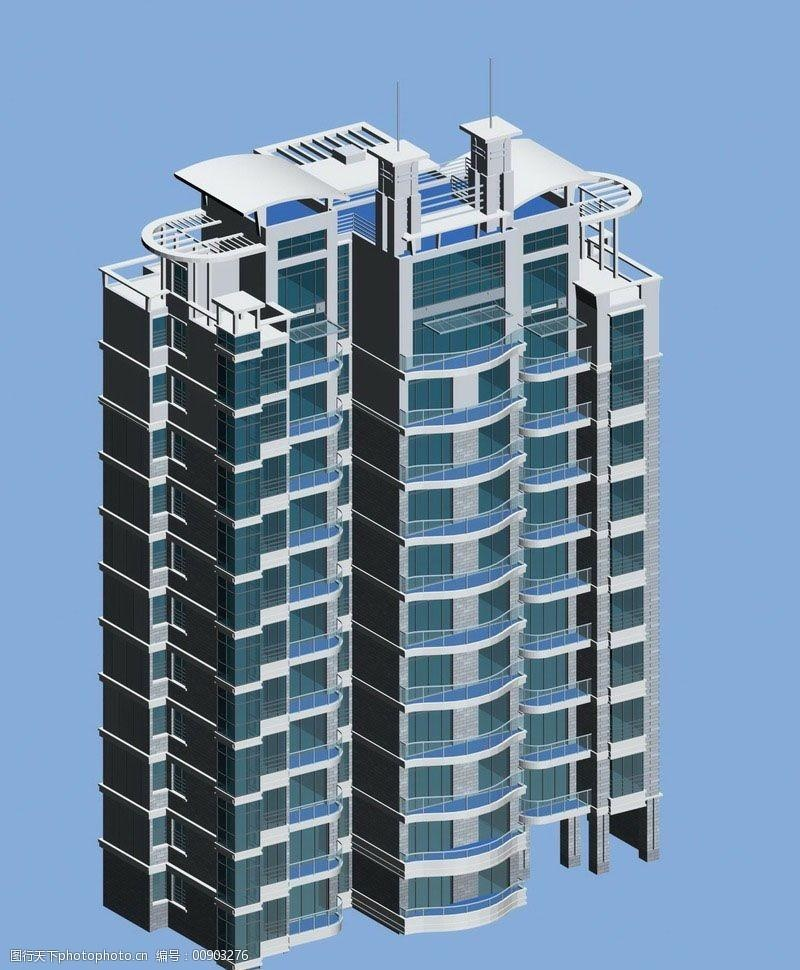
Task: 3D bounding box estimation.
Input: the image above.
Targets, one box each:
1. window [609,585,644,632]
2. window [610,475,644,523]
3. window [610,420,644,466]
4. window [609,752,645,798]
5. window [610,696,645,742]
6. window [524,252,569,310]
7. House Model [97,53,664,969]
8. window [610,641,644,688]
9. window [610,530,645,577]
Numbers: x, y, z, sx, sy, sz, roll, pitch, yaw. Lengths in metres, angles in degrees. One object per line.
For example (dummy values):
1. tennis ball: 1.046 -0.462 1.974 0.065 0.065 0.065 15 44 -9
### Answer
1. window: 6.140 3.347 93.722 0.975 1.007 0.342 -18 31 -29
2. window: 6.066 0.358 92.624 1.020 1.061 0.087 -21 36 -26
3. window: 6.039 -1.137 92.108 0.981 1.020 0.074 -22 35 -28
4. window: 6.268 8.055 95.642 1.110 1.158 0.091 -15 22 -37
5. window: 6.249 6.450 94.935 1.050 1.240 0.154 -16 31 -25
6. window: 3.750 -5.363 89.561 1.199 1.239 0.048 -23 33 -32
7. House Model: -1.189 1.018 87.965 15.550 22.600 10.010 -16 26 -36
8. window: 6.178 4.907 94.289 1.080 1.124 0.109 -17 25 -36
9. window: 6.112 1.838 93.180 1.011 1.050 0.052 -19 29 -32
